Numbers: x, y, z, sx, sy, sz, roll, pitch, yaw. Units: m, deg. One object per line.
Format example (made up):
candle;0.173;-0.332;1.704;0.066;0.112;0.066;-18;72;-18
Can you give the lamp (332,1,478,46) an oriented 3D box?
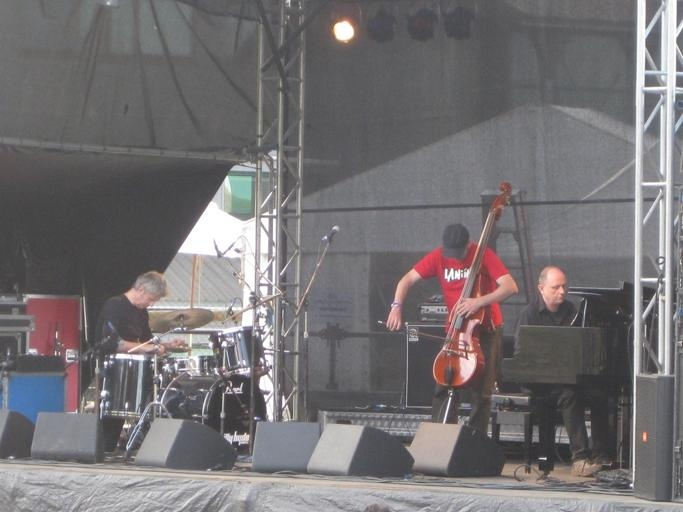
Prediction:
lamp;0.998;-3.094;21.918;1.486;0.561;0.177;-3;-10;15

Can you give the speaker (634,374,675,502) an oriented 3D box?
speaker;3.134;1.804;16.836;0.426;1.266;0.122;-5;-11;25

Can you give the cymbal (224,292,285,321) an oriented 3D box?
cymbal;-1.101;0.549;19.518;0.594;0.383;0.496;2;0;30

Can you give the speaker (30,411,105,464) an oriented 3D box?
speaker;-2.908;1.900;17.718;0.739;0.527;0.250;1;-10;-8

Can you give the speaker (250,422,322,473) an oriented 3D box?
speaker;-0.587;1.958;17.623;0.722;0.498;0.525;1;-7;4

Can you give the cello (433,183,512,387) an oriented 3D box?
cello;1.408;0.309;18.157;0.742;2.294;0.620;5;3;20

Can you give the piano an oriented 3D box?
piano;2.483;1.214;18.168;1.363;2.303;1.005;-1;-10;5

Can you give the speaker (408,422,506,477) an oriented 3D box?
speaker;1.190;1.995;17.409;0.964;0.560;0.408;-1;-10;1

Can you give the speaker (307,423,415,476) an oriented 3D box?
speaker;0.202;1.988;17.606;1.058;0.486;1.252;10;3;16

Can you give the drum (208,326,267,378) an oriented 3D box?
drum;-1.147;1.084;19.370;0.559;0.583;0.555;0;0;26

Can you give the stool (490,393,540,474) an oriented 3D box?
stool;1.845;1.880;17.929;0.427;0.784;0.493;3;4;2

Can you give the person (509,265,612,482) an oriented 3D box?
person;2.496;1.223;18.222;0.912;2.146;1.082;3;2;16

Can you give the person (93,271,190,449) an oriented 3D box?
person;-2.343;1.243;19.212;0.937;2.139;0.776;2;2;-12

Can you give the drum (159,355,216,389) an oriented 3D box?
drum;-1.782;1.304;19.305;0.586;0.359;0.476;2;1;-15

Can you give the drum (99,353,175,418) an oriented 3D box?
drum;-2.290;1.456;19.115;0.703;0.652;0.713;0;-5;26

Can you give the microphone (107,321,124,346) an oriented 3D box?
microphone;-2.598;0.866;19.131;0.056;0.315;0.057;-42;-23;9
